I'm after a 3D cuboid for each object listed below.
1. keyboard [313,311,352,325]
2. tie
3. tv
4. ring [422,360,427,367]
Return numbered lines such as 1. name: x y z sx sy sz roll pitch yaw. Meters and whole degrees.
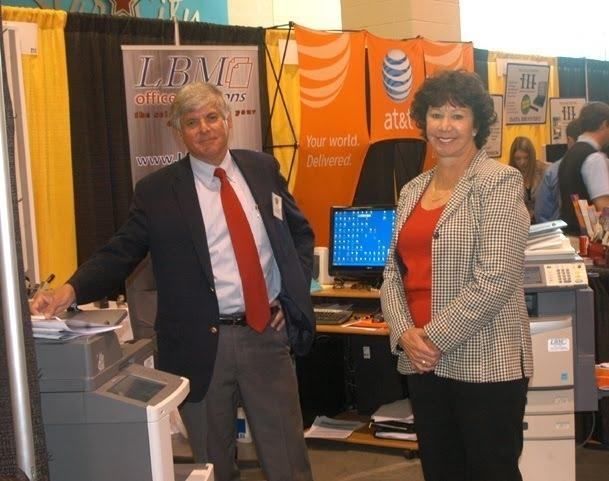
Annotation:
1. keyboard: 0.189 0.491 3.579 0.236 0.051 0.202 0 6 -2
2. tie: -0.270 0.034 2.347 0.263 0.656 0.102 5 8 43
3. tv: 0.381 0.037 3.675 0.470 0.530 0.255 1 -9 24
4. ring: 0.400 0.411 1.891 0.015 0.020 0.007 2 6 24
